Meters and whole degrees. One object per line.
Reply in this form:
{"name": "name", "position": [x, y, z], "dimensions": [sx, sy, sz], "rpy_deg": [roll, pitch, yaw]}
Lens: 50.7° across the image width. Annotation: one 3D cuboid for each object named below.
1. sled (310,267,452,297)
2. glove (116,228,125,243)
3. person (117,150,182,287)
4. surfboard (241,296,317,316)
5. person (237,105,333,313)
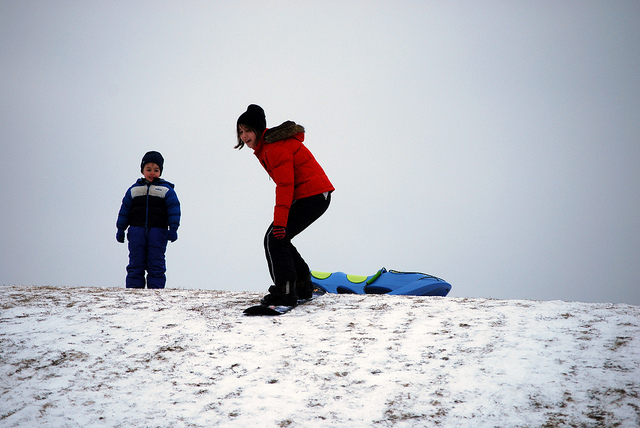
{"name": "sled", "position": [0.919, 1.101, 10.721], "dimensions": [2.234, 0.447, 0.533], "rpy_deg": [-5, -11, 28]}
{"name": "glove", "position": [-3.131, 0.348, 10.572], "dimensions": [0.089, 0.188, 0.328], "rpy_deg": [3, -10, -15]}
{"name": "person", "position": [-2.679, 0.065, 10.539], "dimensions": [0.930, 2.169, 0.481], "rpy_deg": [3, -9, -16]}
{"name": "surfboard", "position": [-0.464, 1.110, 7.961], "dimensions": [0.136, 0.120, 0.996], "rpy_deg": [-5, 0, 32]}
{"name": "person", "position": [-0.434, -0.050, 7.992], "dimensions": [1.129, 2.413, 0.611], "rpy_deg": [5, -10, -30]}
